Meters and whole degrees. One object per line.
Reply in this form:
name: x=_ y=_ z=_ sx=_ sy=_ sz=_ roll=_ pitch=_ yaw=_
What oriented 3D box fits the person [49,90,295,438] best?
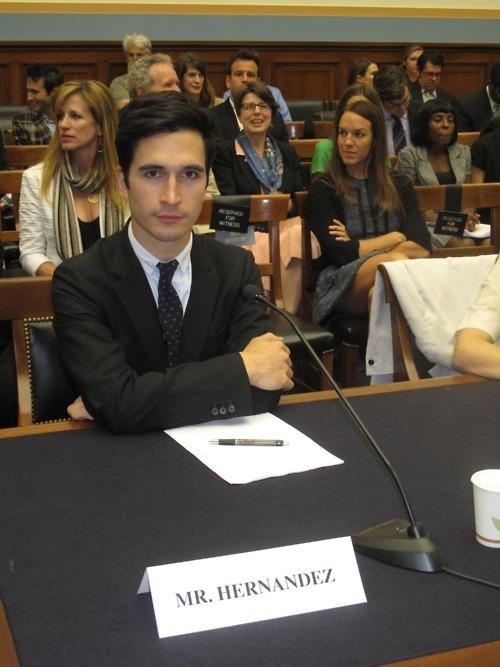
person: x=-0.151 y=-0.112 z=1.206 sx=0.541 sy=0.708 sz=0.493 roll=24 pitch=31 yaw=37
